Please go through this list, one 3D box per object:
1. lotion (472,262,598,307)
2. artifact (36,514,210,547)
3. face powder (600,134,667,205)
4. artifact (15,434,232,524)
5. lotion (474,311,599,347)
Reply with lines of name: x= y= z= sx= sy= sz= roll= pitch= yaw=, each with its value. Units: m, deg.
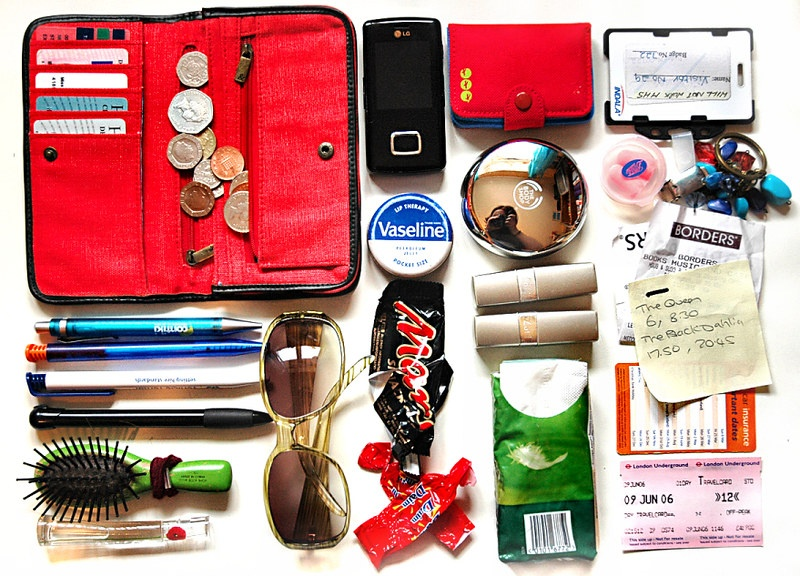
lotion: x=0.271 y=-0.008 z=1.761 sx=0.291 sy=0.074 sz=0.095 roll=-7 pitch=-3 yaw=1
artifact: x=-0.567 y=0.498 z=1.722 sx=0.359 sy=0.075 sz=0.064 roll=1 pitch=-4 yaw=-5
face powder: x=0.488 y=-0.240 z=1.696 sx=0.118 sy=0.138 sz=0.051 roll=0 pitch=8 yaw=0
artifact: x=-0.555 y=0.389 z=1.789 sx=0.415 sy=0.198 sz=0.181 roll=1 pitch=-10 yaw=-1
lotion: x=0.271 y=0.083 z=1.761 sx=0.286 sy=0.080 sz=0.092 roll=-2 pitch=1 yaw=1
